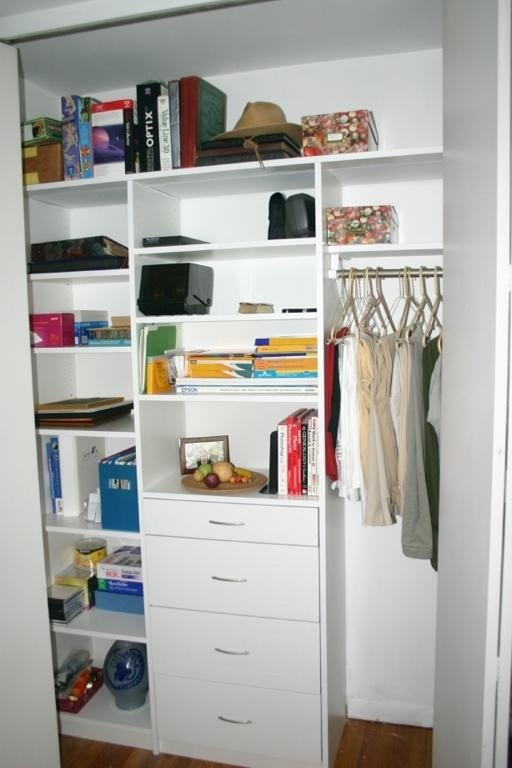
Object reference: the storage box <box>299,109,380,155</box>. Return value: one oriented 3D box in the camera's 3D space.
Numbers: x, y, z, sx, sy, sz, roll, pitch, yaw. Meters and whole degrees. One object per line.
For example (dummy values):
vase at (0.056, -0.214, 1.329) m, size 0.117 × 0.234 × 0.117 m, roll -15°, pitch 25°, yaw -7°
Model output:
storage box at (0.241, -0.775, 1.794) m, size 0.202 × 0.127 × 0.037 m, roll -2°, pitch 6°, yaw 14°

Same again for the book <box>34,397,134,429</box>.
book at (-0.663, 0.102, 2.308) m, size 0.270 × 0.101 × 0.381 m, roll -2°, pitch 9°, yaw 15°

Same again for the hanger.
hanger at (0.434, -0.249, 1.922) m, size 0.271 × 0.190 × 0.122 m, roll 1°, pitch 1°, yaw 35°

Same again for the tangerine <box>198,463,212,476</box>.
tangerine at (-0.186, 0.313, 2.134) m, size 0.037 × 0.042 × 0.037 m, roll 35°, pitch 50°, yaw 22°

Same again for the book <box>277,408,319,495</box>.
book at (0.132, 0.168, 2.068) m, size 0.162 × 0.356 × 0.338 m, roll -1°, pitch 0°, yaw 4°

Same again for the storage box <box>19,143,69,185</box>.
storage box at (-0.733, -0.779, 2.038) m, size 0.185 × 0.205 × 0.066 m, roll 2°, pitch 2°, yaw 26°

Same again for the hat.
hat at (0.000, -0.798, 1.859) m, size 0.206 × 0.117 × 0.265 m, roll -4°, pitch 13°, yaw -17°

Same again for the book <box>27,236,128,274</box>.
book at (-0.646, -0.471, 2.126) m, size 0.391 × 0.120 × 0.139 m, roll -3°, pitch 7°, yaw 8°

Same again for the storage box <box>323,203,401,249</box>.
storage box at (0.338, -0.509, 1.866) m, size 0.241 × 0.133 × 0.140 m, roll -4°, pitch 7°, yaw 2°

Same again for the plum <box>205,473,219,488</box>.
plum at (-0.155, 0.342, 2.059) m, size 0.050 × 0.047 × 0.046 m, roll -7°, pitch 8°, yaw -21°

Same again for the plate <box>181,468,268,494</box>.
plate at (-0.115, 0.352, 2.104) m, size 0.314 × 0.045 × 0.251 m, roll -5°, pitch 8°, yaw -4°

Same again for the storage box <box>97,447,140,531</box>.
storage box at (-0.481, 0.401, 2.181) m, size 0.197 × 0.263 × 0.153 m, roll 0°, pitch 7°, yaw 25°

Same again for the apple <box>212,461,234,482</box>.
apple at (-0.120, 0.317, 2.124) m, size 0.055 × 0.085 × 0.065 m, roll -3°, pitch 1°, yaw -23°
